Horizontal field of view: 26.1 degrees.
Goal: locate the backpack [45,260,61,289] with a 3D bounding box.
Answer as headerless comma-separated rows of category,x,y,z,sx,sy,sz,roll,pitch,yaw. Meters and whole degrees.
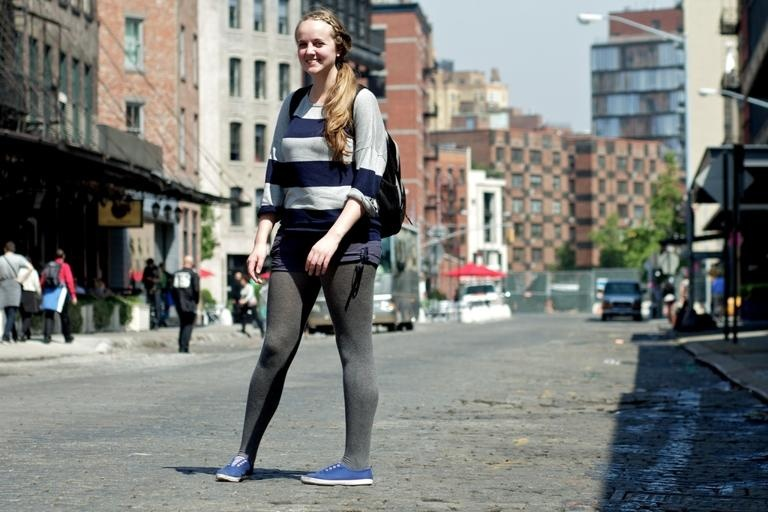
backpack,-8.600,0.481,43.058,0.468,0.667,0.233,-3,-2,-6

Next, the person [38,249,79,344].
person,-8.484,1.043,43.398,1.060,2.477,0.920,7,-8,-41

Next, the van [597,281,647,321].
van,10.192,1.743,70.280,1.846,1.841,4.007,0,1,7

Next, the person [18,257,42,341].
person,-9.167,1.148,42.933,0.541,2.250,0.510,0,-2,-6

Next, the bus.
bus,-0.030,0.959,61.974,2.284,3.666,7.357,-1,-1,6
